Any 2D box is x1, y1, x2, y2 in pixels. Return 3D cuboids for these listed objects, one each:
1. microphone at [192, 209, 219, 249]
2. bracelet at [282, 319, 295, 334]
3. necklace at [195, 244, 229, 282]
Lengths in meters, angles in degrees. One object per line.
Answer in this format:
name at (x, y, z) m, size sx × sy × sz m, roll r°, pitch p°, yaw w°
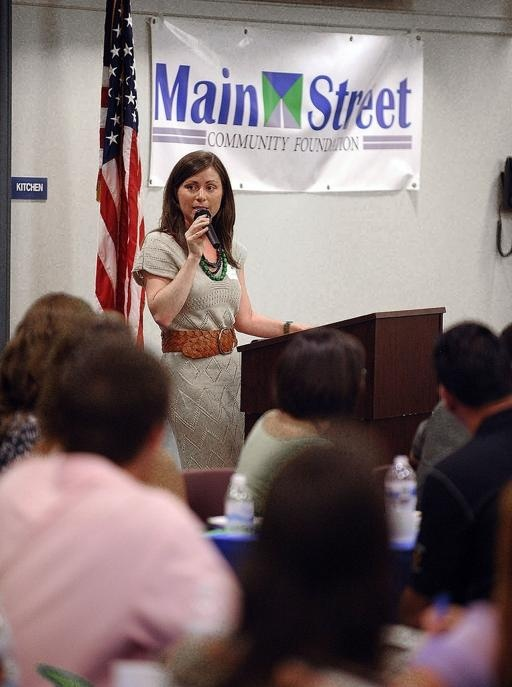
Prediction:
microphone at (-0.168, -0.380, 1.821) m, size 0.048 × 0.186 × 0.052 m, roll -24°, pitch -22°, yaw 10°
bracelet at (0.121, -0.063, 2.118) m, size 0.028 × 0.049 × 0.043 m, roll -1°, pitch 8°, yaw 4°
necklace at (-0.145, -0.262, 1.838) m, size 0.078 × 0.126 × 0.032 m, roll -10°, pitch -14°, yaw -32°
